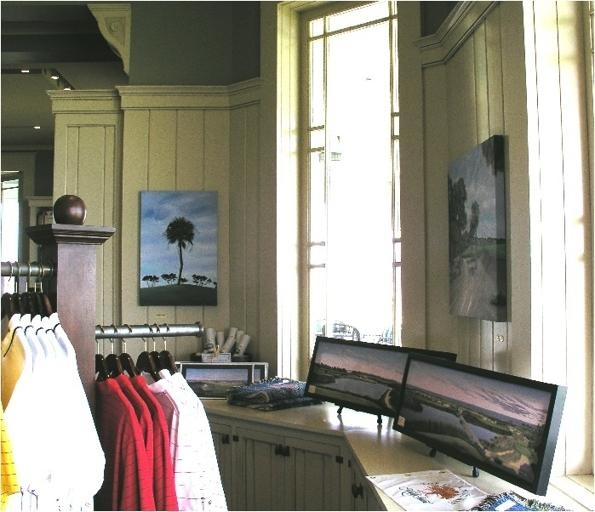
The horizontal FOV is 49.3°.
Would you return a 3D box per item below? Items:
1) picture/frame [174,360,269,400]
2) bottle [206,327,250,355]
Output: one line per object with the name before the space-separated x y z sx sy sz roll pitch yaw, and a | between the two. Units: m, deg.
picture/frame | -0.472 0.764 3.988 0.556 0.206 0.143 0 2 -3
bottle | -0.506 0.582 4.390 0.341 0.166 0.333 0 2 0
